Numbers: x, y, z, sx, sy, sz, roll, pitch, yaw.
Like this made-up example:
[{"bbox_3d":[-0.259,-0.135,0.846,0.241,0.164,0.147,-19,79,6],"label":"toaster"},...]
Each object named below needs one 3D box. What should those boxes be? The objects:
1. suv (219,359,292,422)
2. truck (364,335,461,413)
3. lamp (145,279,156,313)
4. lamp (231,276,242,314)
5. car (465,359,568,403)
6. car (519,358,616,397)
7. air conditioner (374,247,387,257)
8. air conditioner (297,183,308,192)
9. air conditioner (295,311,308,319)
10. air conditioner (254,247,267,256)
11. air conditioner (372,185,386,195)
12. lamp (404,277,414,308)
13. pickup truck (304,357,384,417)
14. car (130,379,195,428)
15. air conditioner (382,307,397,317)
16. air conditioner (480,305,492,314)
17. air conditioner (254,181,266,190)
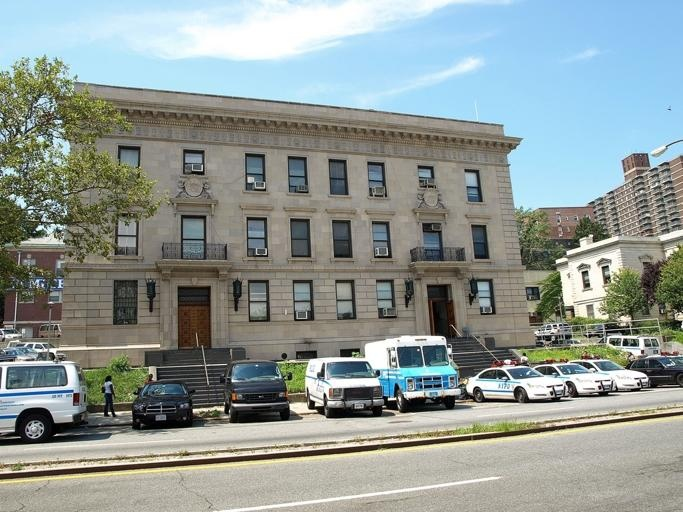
[{"bbox_3d":[-3.360,5.136,23.106,1.987,1.405,3.119,1,-16,-18],"label":"suv"},{"bbox_3d":[3.106,5.264,26.609,2.803,2.810,5.328,-2,-9,-15],"label":"truck"},{"bbox_3d":[-10.804,2.220,33.196,0.471,1.895,0.517,0,-4,-18],"label":"lamp"},{"bbox_3d":[-6.167,2.296,34.610,0.581,1.931,0.576,0,-4,-17],"label":"lamp"},{"bbox_3d":[7.669,5.704,26.655,1.933,1.117,3.647,5,-15,-31],"label":"car"},{"bbox_3d":[10.971,5.978,29.041,1.770,1.163,3.754,3,-10,-27],"label":"car"},{"bbox_3d":[2.562,-0.223,38.664,1.069,0.624,0.584,3,-7,-28],"label":"air conditioner"},{"bbox_3d":[-2.500,-4.367,37.543,0.510,0.342,0.487,1,-5,-13],"label":"air conditioner"},{"bbox_3d":[-2.438,3.638,35.960,0.775,0.449,0.430,3,-9,-26],"label":"air conditioner"},{"bbox_3d":[-4.963,-0.248,35.978,0.822,0.501,0.248,-1,-4,-9],"label":"air conditioner"},{"bbox_3d":[2.481,-4.314,39.306,1.087,0.671,0.581,2,-4,-26],"label":"air conditioner"},{"bbox_3d":[4.432,2.411,38.311,0.678,1.871,0.428,-2,-4,5],"label":"lamp"},{"bbox_3d":[-0.149,5.418,24.707,1.914,1.348,3.516,2,-14,-17],"label":"pickup truck"},{"bbox_3d":[-6.900,5.756,22.410,2.042,1.596,1.999,-3,-4,32],"label":"car"},{"bbox_3d":[3.099,3.669,37.896,0.864,0.536,0.550,5,-9,-36],"label":"air conditioner"},{"bbox_3d":[9.876,3.650,39.872,1.000,0.584,0.223,0,-4,-25],"label":"air conditioner"},{"bbox_3d":[-5.128,-4.358,36.679,0.936,0.566,0.461,3,-7,-26],"label":"air conditioner"}]
